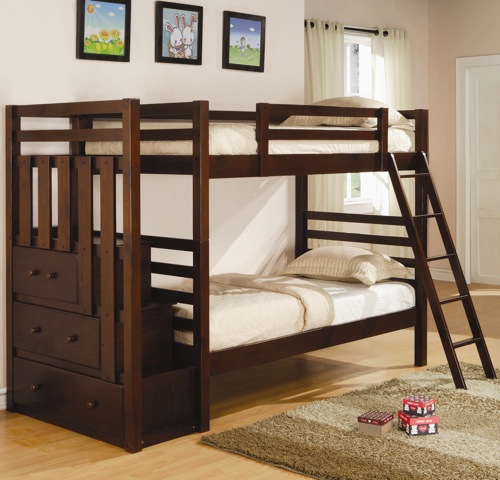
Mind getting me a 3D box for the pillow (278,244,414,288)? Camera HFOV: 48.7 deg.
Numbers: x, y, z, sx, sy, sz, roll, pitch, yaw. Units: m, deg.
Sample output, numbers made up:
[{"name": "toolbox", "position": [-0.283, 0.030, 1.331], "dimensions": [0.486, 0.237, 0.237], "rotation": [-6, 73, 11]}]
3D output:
[{"name": "pillow", "position": [0.631, 0.172, 3.789], "dimensions": [0.494, 0.153, 0.389], "rotation": [2, 7, 41]}]
